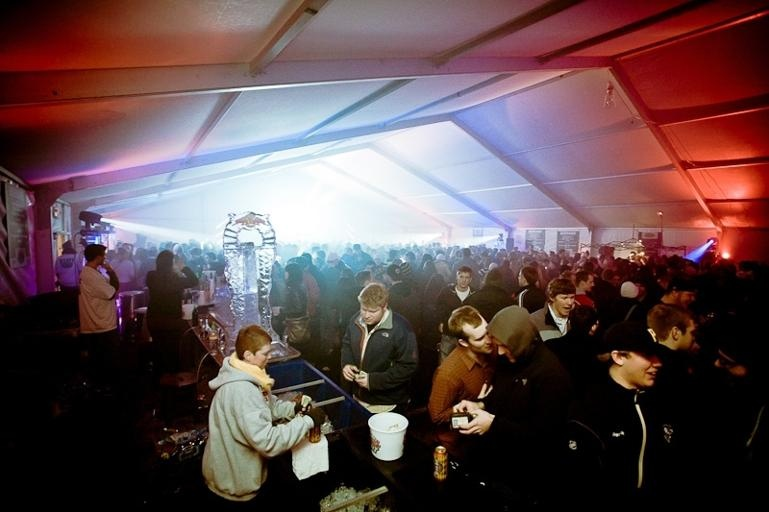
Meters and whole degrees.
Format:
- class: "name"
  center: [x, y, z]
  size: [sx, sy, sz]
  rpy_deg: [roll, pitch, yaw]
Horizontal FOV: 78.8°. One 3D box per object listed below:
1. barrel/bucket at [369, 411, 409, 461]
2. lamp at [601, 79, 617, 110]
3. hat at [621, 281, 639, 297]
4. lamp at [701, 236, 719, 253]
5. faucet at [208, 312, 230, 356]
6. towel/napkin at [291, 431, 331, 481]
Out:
- class: "barrel/bucket"
  center: [0.042, 1.930, 4.929]
  size: [0.427, 0.315, 0.433]
  rpy_deg: [-1, 2, 0]
- class: "lamp"
  center: [5.496, -3.973, 11.458]
  size: [0.320, 0.431, 0.763]
  rpy_deg: [-10, 3, 28]
- class: "hat"
  center: [3.638, 0.525, 6.939]
  size: [0.254, 0.240, 0.137]
  rpy_deg: [-20, -13, 17]
- class: "lamp"
  center: [9.522, -0.343, 13.612]
  size: [0.104, 0.372, 0.350]
  rpy_deg: [20, -34, -16]
- class: "faucet"
  center: [-2.478, 1.206, 7.013]
  size: [0.199, 0.800, 0.222]
  rpy_deg: [20, 36, 40]
- class: "towel/napkin"
  center: [-0.748, 2.086, 4.816]
  size: [0.410, 0.391, 0.141]
  rpy_deg: [-15, 10, -20]
